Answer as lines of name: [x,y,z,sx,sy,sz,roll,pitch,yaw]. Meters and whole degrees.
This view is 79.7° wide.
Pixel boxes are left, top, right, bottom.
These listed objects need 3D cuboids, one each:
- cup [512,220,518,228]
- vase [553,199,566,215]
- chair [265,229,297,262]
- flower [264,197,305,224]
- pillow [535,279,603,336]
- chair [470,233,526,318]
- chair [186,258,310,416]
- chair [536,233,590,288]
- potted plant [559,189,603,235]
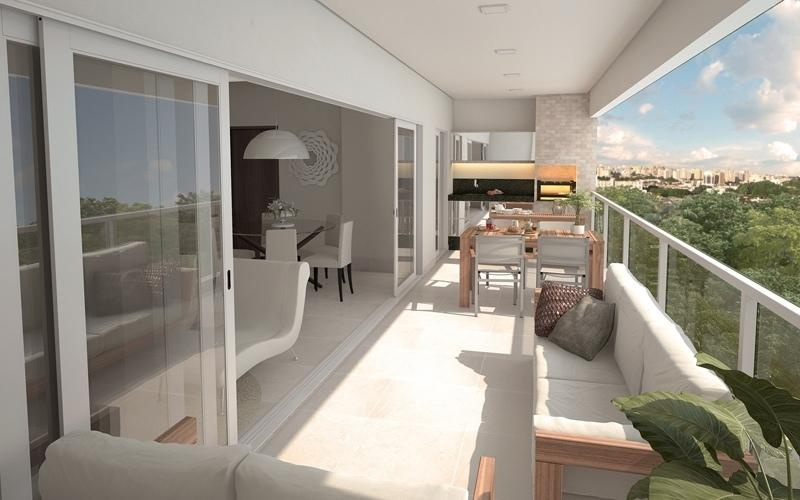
cup: [1.719,-0.399,7.168,0.106,0.109,0.194,5,-3,14]
vase: [2.780,-0.772,8.527,0.256,0.366,0.266,-3,6,7]
chair: [-1.582,-0.070,6.377,0.402,0.409,0.276,-3,15,-15]
flower: [-1.895,-0.588,7.514,0.517,0.371,0.522,0,2,24]
pillow: [1.533,0.561,4.446,0.234,0.501,0.498,25,-10,-39]
chair: [1.349,0.286,6.485,0.700,1.080,0.857,4,15,11]
chair: [-1.306,0.611,4.548,0.975,0.786,1.031,2,2,23]
chair: [2.097,0.107,6.152,0.561,0.937,0.633,2,21,17]
potted plant: [3.227,-0.670,8.494,0.803,0.929,0.869,-2,9,-5]
